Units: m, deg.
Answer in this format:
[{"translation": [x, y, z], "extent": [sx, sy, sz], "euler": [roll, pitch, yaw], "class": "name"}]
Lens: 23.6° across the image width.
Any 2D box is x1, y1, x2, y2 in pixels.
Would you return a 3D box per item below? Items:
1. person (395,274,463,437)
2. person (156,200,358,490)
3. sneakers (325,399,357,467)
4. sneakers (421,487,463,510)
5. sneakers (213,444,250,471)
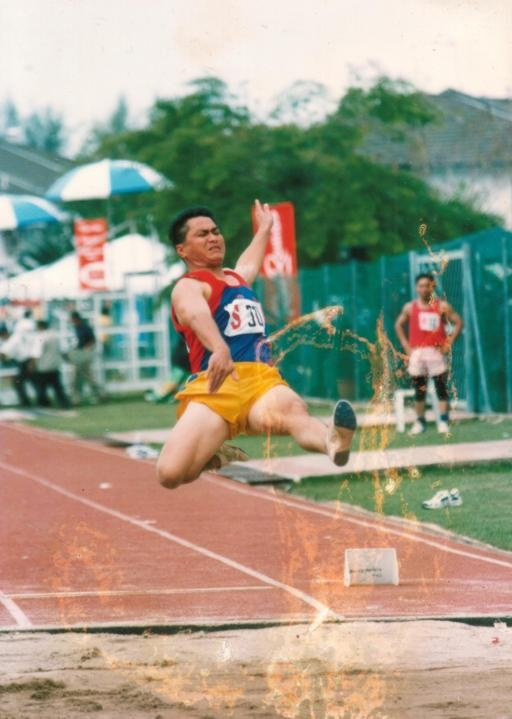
[{"translation": [1.289, -0.059, 9.099], "extent": [0.483, 1.168, 1.218], "euler": [1, 7, 7], "class": "person"}, {"translation": [-0.050, -0.123, 4.747], "extent": [0.625, 1.280, 1.231], "euler": [1, -6, -19], "class": "person"}, {"translation": [0.325, 0.262, 4.438], "extent": [0.080, 0.254, 0.098], "euler": [4, 8, -13], "class": "sneakers"}, {"translation": [1.040, 0.757, 6.649], "extent": [0.246, 0.104, 0.092], "euler": [-6, 14, -10], "class": "sneakers"}, {"translation": [-0.101, 0.390, 4.963], "extent": [0.062, 0.079, 0.193], "euler": [0, -6, 18], "class": "sneakers"}]
